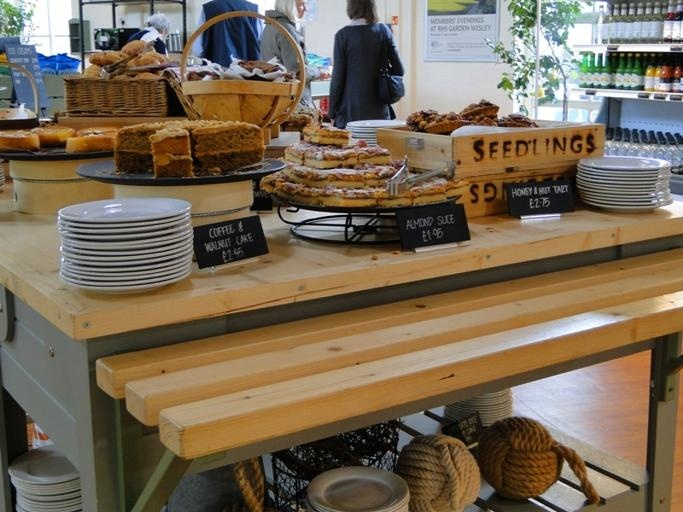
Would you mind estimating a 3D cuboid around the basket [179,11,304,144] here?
[{"bbox_3d":[-0.254,-0.518,1.744,0.555,0.388,0.442,-1,10,-4],"label":"basket"}]

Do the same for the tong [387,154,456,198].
[{"bbox_3d":[0.188,-0.190,1.307,0.114,0.042,0.183,16,26,41],"label":"tong"}]

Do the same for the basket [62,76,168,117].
[{"bbox_3d":[-0.790,-0.546,1.934,0.316,0.078,0.194,-3,10,-16],"label":"basket"}]

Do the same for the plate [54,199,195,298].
[{"bbox_3d":[-0.367,-0.027,1.023,0.234,0.098,0.222,7,12,37],"label":"plate"}]
